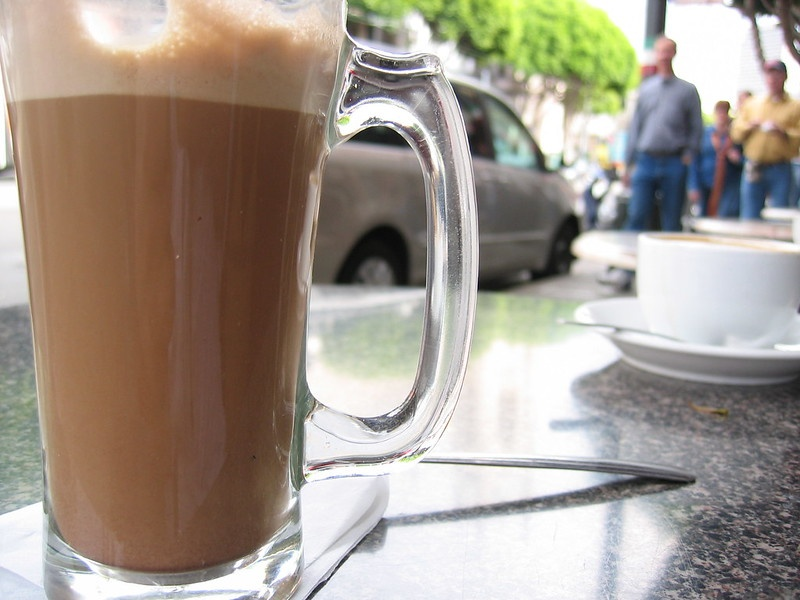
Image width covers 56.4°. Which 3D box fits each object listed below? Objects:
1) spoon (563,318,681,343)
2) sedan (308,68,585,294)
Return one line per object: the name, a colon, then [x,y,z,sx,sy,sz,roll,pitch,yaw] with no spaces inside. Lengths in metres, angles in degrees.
spoon: [0.261,0.035,0.868,0.120,0.014,0.018,12,-2,-11]
sedan: [0.244,-0.589,3.980,1.865,0.849,0.817,-8,8,-39]
